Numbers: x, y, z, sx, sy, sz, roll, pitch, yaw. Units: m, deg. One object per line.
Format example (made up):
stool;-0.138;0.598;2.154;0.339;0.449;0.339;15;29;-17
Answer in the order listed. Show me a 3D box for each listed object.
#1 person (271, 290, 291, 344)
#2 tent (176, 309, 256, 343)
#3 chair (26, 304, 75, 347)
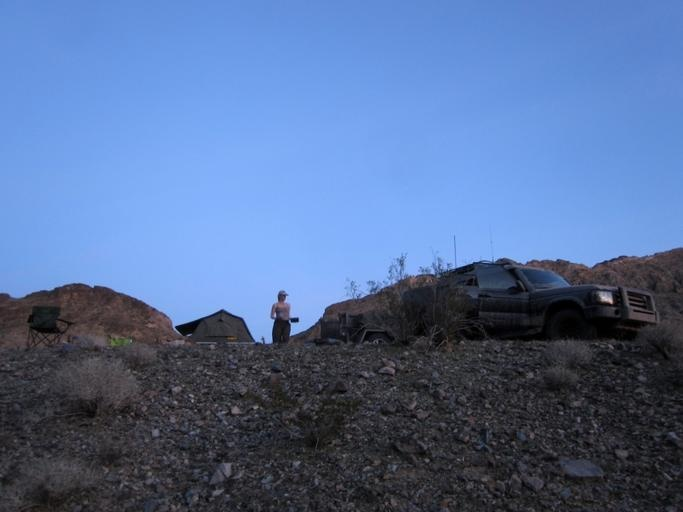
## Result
person;-1.735;1.774;16.011;0.518;1.485;1.139;-1;-11;-7
tent;-4.840;2.762;21.929;2.537;1.181;0.815;0;-11;-14
chair;-9.400;2.201;18.293;1.358;1.537;1.410;-8;21;-40
